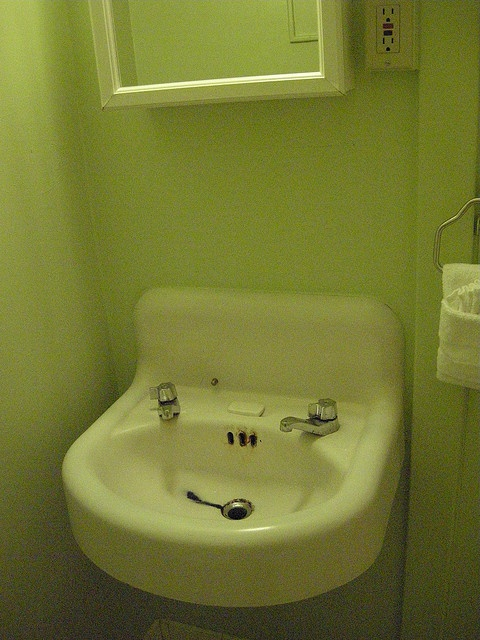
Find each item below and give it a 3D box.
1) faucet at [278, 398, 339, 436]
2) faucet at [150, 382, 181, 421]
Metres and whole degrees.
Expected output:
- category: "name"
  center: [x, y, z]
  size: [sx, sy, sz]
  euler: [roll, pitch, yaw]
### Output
- category: "faucet"
  center: [0.113, 0.145, 0.905]
  size: [0.097, 0.045, 0.046]
  euler: [-12, 17, -36]
- category: "faucet"
  center: [-0.128, 0.138, 0.957]
  size: [0.052, 0.075, 0.063]
  euler: [-7, -1, -3]
